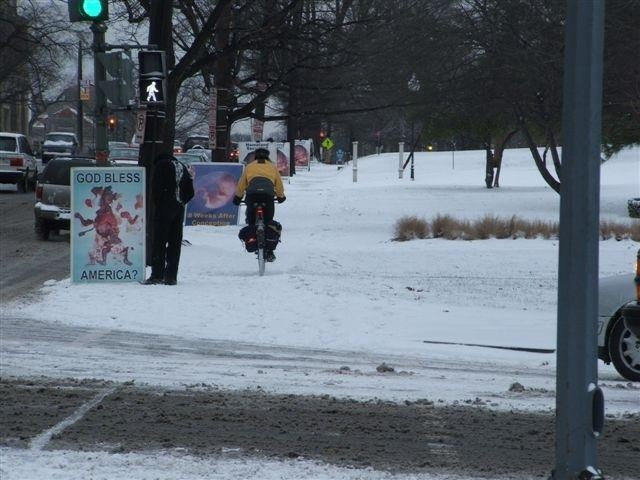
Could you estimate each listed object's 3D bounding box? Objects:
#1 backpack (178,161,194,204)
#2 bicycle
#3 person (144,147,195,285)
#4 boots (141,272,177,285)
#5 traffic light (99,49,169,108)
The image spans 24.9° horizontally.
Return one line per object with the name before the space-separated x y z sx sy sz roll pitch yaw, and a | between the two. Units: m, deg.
backpack | -2.585 -1.049 27.654 0.189 0.622 0.462 2 1 27
bicycle | -1.282 -0.052 29.038 0.755 1.347 0.785 7 13 17
person | -2.900 -0.362 27.545 0.687 2.405 1.066 5 13 8
boots | -3.055 0.772 27.385 0.646 0.178 0.364 -1 13 -15
traffic light | -3.632 -3.066 27.889 1.253 1.123 1.118 2 13 -6
